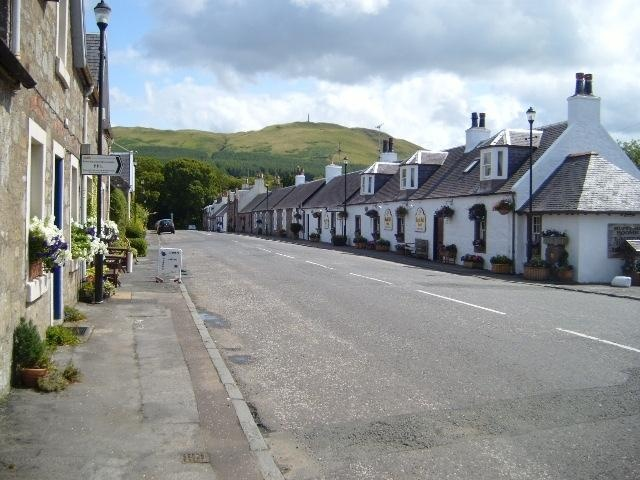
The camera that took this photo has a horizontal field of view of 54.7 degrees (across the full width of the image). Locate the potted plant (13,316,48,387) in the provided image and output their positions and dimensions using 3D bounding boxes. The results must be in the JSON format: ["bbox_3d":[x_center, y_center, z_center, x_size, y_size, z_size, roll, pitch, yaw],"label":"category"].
[{"bbox_3d":[-4.246,1.637,9.069,0.469,0.981,0.502,-2,5,-21],"label":"potted plant"}]

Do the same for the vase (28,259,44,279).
[{"bbox_3d":[-4.612,0.456,10.062,0.169,0.312,0.808,-2,5,-19],"label":"vase"}]

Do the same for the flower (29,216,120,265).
[{"bbox_3d":[-5.075,0.026,12.818,1.284,0.660,0.904,7,8,31],"label":"flower"}]
